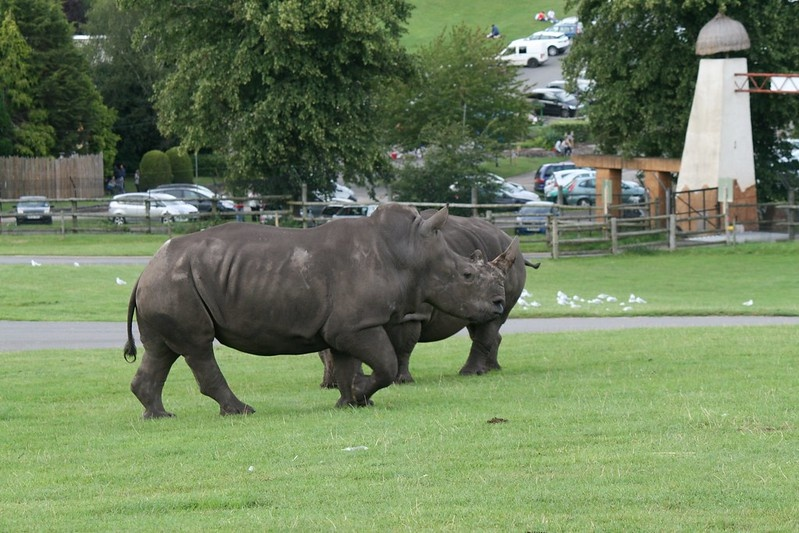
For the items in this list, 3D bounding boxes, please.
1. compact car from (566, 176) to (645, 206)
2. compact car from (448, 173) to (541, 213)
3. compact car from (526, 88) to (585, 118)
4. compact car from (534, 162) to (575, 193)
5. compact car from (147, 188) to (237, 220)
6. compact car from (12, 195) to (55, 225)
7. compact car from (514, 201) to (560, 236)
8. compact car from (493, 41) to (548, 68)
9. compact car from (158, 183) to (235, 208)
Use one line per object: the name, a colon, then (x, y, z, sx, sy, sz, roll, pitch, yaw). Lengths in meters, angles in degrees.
compact car: (11.735, -4.201, 115.324, 3.908, 1.411, 1.944, -1, 5, 4)
compact car: (6.620, -4.054, 116.029, 1.452, 1.105, 3.380, -28, 12, -40)
compact car: (11.089, -11.745, 141.392, 5.447, 2.247, 3.135, 2, 21, 11)
compact car: (9.373, -5.531, 122.803, 1.632, 1.327, 2.619, -1, 13, 2)
compact car: (-11.173, -3.267, 112.392, 4.851, 1.691, 2.260, 1, 7, 9)
compact car: (-19.714, -3.052, 108.693, 1.507, 1.177, 2.433, -1, -3, -15)
compact car: (7.454, -2.451, 106.087, 2.297, 1.894, 4.010, 4, 5, 11)
compact car: (10.255, -17.040, 156.175, 2.666, 1.592, 2.788, -1, 1, 16)
compact car: (-11.560, -3.707, 114.067, 4.083, 1.455, 2.024, -1, 8, -3)
